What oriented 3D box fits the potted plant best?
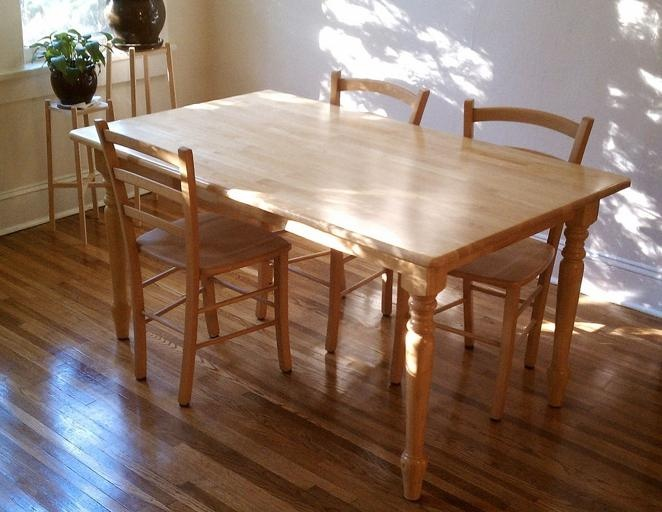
[{"bbox_3d":[-1.462,-1.065,3.323,0.512,0.398,0.507,-11,23,-34],"label":"potted plant"}]

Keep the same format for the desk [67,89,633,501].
[{"bbox_3d":[0.099,0.005,2.219,1.097,0.856,1.605,-22,37,-40],"label":"desk"}]
